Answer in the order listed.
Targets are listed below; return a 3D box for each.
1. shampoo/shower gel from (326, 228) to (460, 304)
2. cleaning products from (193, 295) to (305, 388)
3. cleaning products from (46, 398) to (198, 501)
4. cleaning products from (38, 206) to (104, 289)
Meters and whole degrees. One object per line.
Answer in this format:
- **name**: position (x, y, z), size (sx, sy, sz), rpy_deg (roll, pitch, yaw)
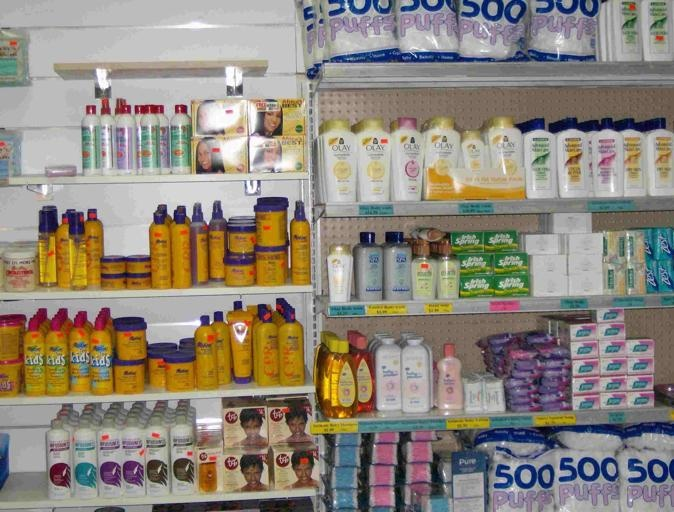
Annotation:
- **shampoo/shower gel**: position (0.341, 0.045, 4.815), size (0.523, 0.356, 0.179), rpy_deg (-5, 3, 0)
- **cleaning products**: position (-0.443, 0.430, 5.022), size (0.439, 0.325, 0.444), rpy_deg (-2, -3, -5)
- **cleaning products**: position (-1.066, 0.983, 4.838), size (0.499, 0.335, 0.153), rpy_deg (0, 2, 0)
- **cleaning products**: position (-1.320, -0.024, 4.835), size (0.360, 0.502, 0.163), rpy_deg (2, 9, -2)
